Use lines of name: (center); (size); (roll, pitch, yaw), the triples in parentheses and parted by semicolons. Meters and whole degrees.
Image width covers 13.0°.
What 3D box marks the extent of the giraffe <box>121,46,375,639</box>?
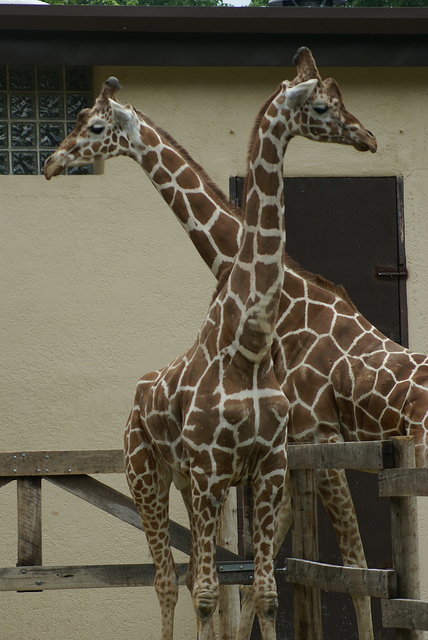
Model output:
giraffe: (0.117, 0.166, 8.683); (0.568, 2.577, 1.314); (7, -12, -35)
